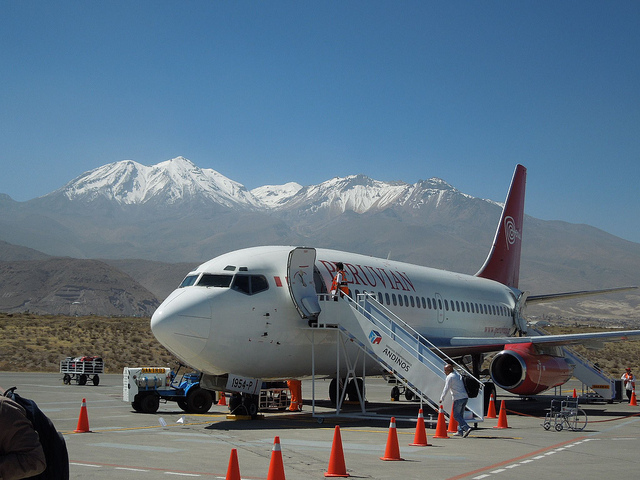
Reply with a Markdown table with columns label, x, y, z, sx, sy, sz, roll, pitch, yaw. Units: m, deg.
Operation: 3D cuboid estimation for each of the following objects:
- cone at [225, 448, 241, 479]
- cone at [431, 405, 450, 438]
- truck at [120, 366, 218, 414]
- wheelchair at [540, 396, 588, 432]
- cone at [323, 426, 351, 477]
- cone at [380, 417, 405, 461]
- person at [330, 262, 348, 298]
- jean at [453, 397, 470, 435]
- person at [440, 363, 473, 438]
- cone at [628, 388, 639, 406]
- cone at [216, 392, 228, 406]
| label | x | y | z | sx | sy | sz | roll | pitch | yaw |
| --- | --- | --- | --- | --- | --- | --- | --- | --- | --- |
| cone | -1.606 | 4.160 | 12.068 | 0.244 | 0.517 | 0.648 | 3 | -11 | -6 |
| cone | 3.492 | 5.230 | 18.662 | 0.416 | 0.892 | 0.543 | -5 | -14 | 32 |
| truck | -5.613 | 5.651 | 24.440 | 3.283 | 1.330 | 1.972 | 3 | -11 | -15 |
| wheelchair | 8.009 | 5.873 | 21.791 | 1.595 | 0.991 | 1.031 | 7 | -7 | 7 |
| cone | 0.414 | 4.618 | 13.917 | 0.923 | 1.136 | 0.830 | 3 | -20 | 0 |
| cone | 1.713 | 4.664 | 15.206 | 0.545 | 0.935 | 0.489 | -1 | -12 | 14 |
| person | 0.704 | 1.414 | 22.920 | 0.576 | 1.312 | 0.966 | 2 | -11 | 2 |
| jean | 4.163 | 5.184 | 19.121 | 0.443 | 1.031 | 0.614 | 0 | -12 | 10 |
| person | 4.039 | 4.859 | 19.172 | 0.785 | 1.816 | 0.784 | 0 | -12 | 10 |
| cone | 15.695 | 7.985 | 32.420 | 0.610 | 0.645 | 0.568 | -1 | -8 | 14 |
| cone | -4.119 | 6.802 | 27.314 | 0.392 | 0.371 | 0.394 | 10 | -9 | -32 |
